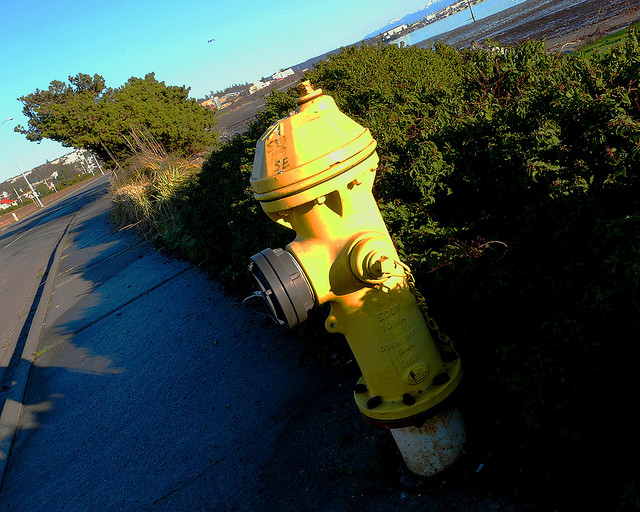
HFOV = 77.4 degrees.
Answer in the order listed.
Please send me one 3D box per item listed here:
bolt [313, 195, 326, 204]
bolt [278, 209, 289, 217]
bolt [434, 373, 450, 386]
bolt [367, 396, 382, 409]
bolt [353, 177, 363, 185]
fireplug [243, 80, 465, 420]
[{"bbox_3d":[-0.001,-0.340,2.433,0.082,0.042,0.050,-26,23,4],"label":"bolt"},{"bbox_3d":[-0.223,-0.273,2.561,0.081,0.041,0.039,1,6,30],"label":"bolt"},{"bbox_3d":[0.830,0.842,2.718,0.083,0.061,0.021,-32,29,17],"label":"bolt"},{"bbox_3d":[0.374,1.016,2.760,0.091,0.068,0.028,-32,-28,33],"label":"bolt"},{"bbox_3d":[0.235,-0.461,2.474,0.031,0.012,0.044,-13,-24,-9],"label":"bolt"},{"bbox_3d":[0.156,0.096,2.666,1.025,2.269,0.824,-21,23,12],"label":"fireplug"}]
